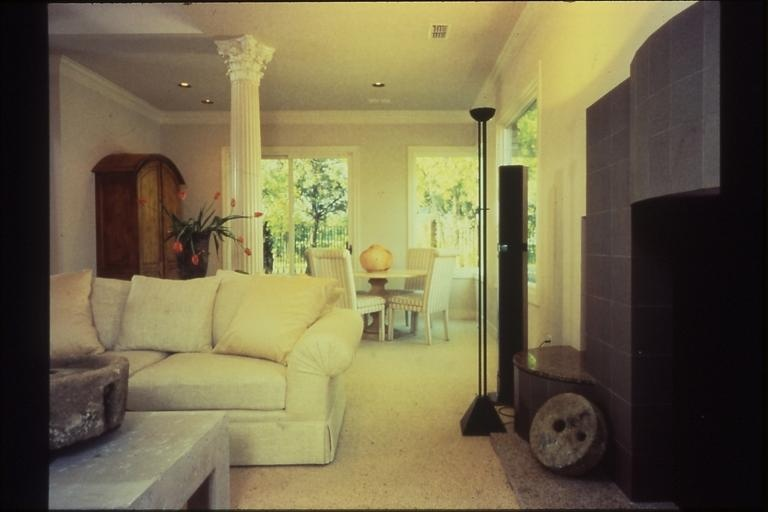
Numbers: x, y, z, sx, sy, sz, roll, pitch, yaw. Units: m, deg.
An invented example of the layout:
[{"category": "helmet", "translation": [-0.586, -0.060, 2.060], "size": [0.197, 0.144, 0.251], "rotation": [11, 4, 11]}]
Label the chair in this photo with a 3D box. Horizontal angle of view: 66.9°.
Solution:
[{"category": "chair", "translation": [-0.007, 0.358, 5.651], "size": [1.326, 1.001, 0.830], "rotation": [1, 0, 16]}]

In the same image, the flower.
[{"category": "flower", "translation": [-1.484, -0.179, 4.751], "size": [1.042, 0.675, 1.030], "rotation": [3, 0, -39]}]

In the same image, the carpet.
[{"category": "carpet", "translation": [0.780, 1.097, 2.873], "size": [0.447, 0.085, 0.791], "rotation": [-7, 7, -29]}]
